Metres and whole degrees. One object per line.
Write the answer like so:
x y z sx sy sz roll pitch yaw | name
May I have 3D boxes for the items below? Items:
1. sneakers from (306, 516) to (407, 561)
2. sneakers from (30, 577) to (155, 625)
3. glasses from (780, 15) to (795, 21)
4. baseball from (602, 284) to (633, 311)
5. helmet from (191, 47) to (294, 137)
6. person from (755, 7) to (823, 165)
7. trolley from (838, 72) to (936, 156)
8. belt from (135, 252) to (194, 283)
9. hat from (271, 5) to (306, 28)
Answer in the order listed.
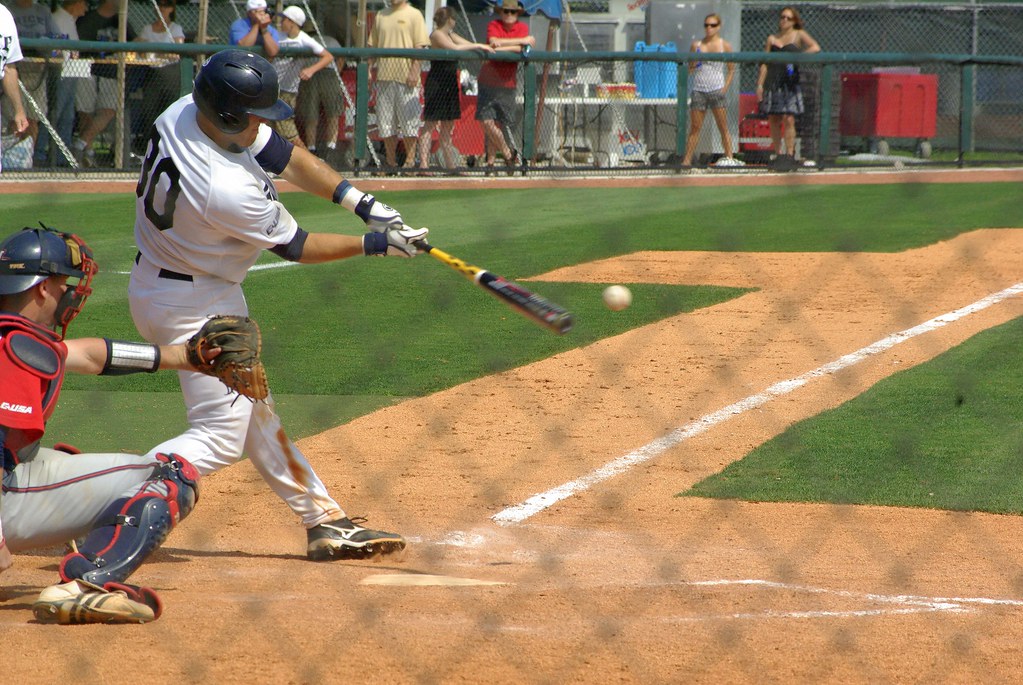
-0.775 0.971 7.477 0.543 0.219 0.204 -8 2 -5 | sneakers
-1.855 1.163 6.518 0.550 0.221 0.216 -2 3 -4 | sneakers
3.406 -4.039 18.060 0.121 0.059 0.088 7 11 22 | glasses
0.612 -0.248 8.319 0.184 0.103 0.179 9 33 11 | baseball
-1.332 -1.242 7.199 0.522 0.350 0.366 19 26 -15 | helmet
3.417 -3.217 18.072 0.675 1.935 1.179 5 10 10 | person
5.441 -3.292 20.927 1.062 1.037 0.841 -2 9 -19 | trolley
-1.709 -0.384 7.226 0.193 0.046 0.195 15 0 28 | belt
-2.660 -3.858 17.281 0.331 0.176 0.230 29 18 6 | hat
